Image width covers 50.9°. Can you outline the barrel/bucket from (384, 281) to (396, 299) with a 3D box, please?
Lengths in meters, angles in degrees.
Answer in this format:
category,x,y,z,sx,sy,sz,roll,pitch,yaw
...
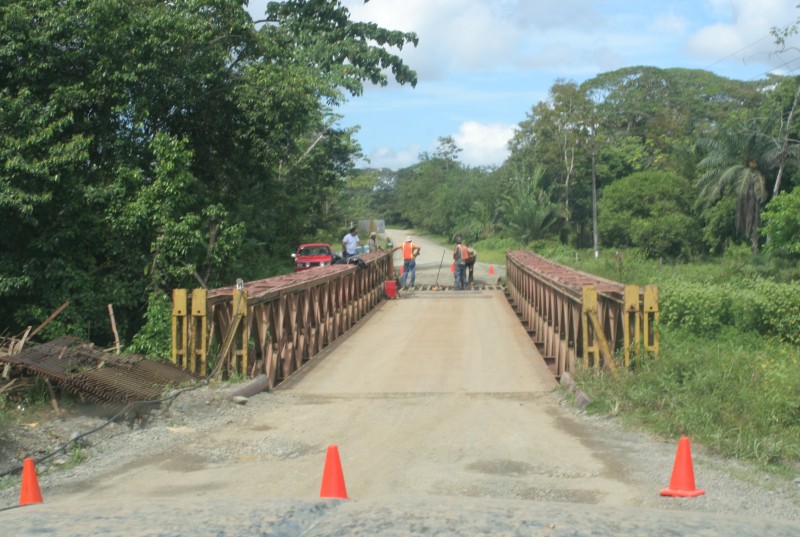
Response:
category,x,y,z,sx,sy,sz,roll,pitch,yaw
barrel/bucket,-0.340,0.756,29.903,0.375,0.614,0.403,0,1,0

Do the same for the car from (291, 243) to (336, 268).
category,x,y,z,sx,sy,sz,roll,pitch,yaw
car,-3.514,-0.555,33.863,1.035,0.859,1.571,-2,-4,-2

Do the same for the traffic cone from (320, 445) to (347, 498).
category,x,y,z,sx,sy,sz,roll,pitch,yaw
traffic cone,-1.066,3.233,13.566,0.444,0.852,0.525,0,1,-6

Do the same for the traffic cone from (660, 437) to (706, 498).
category,x,y,z,sx,sy,sz,roll,pitch,yaw
traffic cone,4.601,3.226,13.708,0.681,0.979,0.314,1,1,18
